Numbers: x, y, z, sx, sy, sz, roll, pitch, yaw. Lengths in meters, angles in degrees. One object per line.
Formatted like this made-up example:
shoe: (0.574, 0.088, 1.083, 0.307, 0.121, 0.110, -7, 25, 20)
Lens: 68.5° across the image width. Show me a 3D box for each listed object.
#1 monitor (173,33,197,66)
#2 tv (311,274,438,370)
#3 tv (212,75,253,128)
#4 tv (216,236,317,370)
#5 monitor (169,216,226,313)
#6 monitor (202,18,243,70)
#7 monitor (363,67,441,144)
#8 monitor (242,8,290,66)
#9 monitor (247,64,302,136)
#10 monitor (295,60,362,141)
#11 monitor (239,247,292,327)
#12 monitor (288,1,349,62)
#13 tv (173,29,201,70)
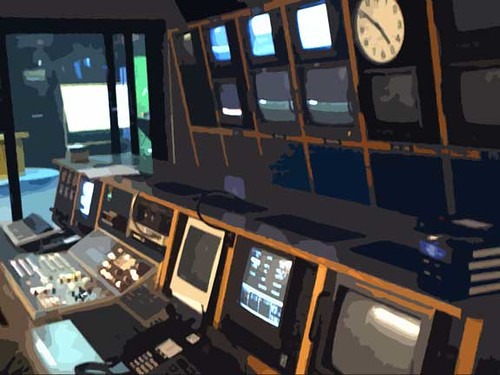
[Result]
monitor: (-0.460, -0.973, 2.590, 0.195, 0.211, 0.049, 5, 19, 43)
tv: (0.406, 0.530, 1.263, 0.370, 0.347, 0.122, 14, 18, 41)
tv: (-0.134, -0.592, 2.463, 0.016, 0.354, 0.341, -26, 31, -34)
tv: (0.080, 0.497, 1.544, 0.248, 0.454, 0.449, 17, -3, -41)
monitor: (-0.258, 0.399, 1.848, 0.041, 0.504, 0.413, 15, -1, -39)
monitor: (-0.204, -0.952, 2.448, 0.093, 0.392, 0.415, -14, 19, -14)
monitor: (0.705, -0.386, 1.728, 0.088, 0.338, 0.368, -11, 18, -41)
monitor: (0.082, -0.854, 2.109, 0.086, 0.278, 0.320, -11, 18, -40)
monitor: (0.155, -0.543, 2.205, 0.449, 0.447, 0.045, 5, 27, 44)
monitor: (0.436, -0.488, 1.970, 0.018, 0.387, 0.388, -4, 16, -38)
monitor: (0.072, 0.435, 1.573, 0.312, 0.358, 0.038, 13, 1, 41)
monitor: (0.342, -0.794, 1.870, 0.314, 0.291, 0.075, 8, 22, 41)
tv: (-0.442, -0.969, 2.577, 0.050, 0.237, 0.279, -10, 18, -40)
